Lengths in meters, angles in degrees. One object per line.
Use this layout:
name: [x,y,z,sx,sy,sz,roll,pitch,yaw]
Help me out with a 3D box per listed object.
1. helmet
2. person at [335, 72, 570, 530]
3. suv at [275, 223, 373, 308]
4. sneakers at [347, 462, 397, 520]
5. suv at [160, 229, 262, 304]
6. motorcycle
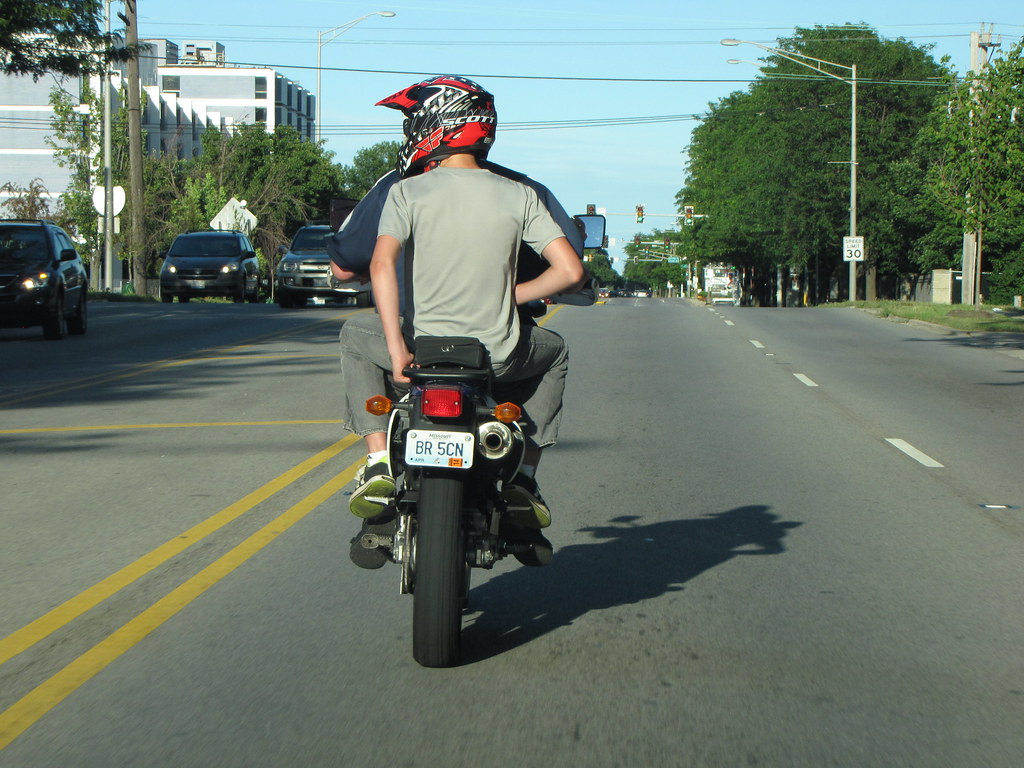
helmet: [-0.343,-1.217,5.780,0.592,0.526,0.440,2,0,11]
person: [-0.247,-0.342,5.798,1.162,2.134,0.998,1,4,-3]
suv: [-5.142,-3.278,33.078,2.058,2.305,4.430,-1,4,-7]
sneakers: [-0.643,0.494,5.586,0.131,0.342,0.157,16,52,1]
suv: [-8.456,-3.280,33.577,2.466,1.974,2.674,-1,7,-10]
motorcycle: [-0.311,0.352,5.500,0.734,1.783,0.836,1,6,3]
